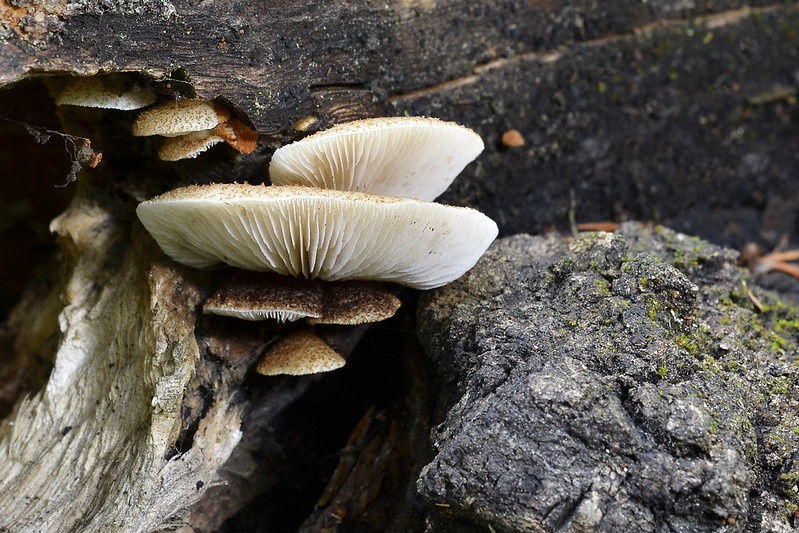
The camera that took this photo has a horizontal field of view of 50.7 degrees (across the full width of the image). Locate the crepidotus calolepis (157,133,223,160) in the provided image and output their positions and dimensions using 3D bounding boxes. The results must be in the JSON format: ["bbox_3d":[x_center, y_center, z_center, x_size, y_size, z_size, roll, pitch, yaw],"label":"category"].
[{"bbox_3d":[-1.563,-0.903,6.306,0.296,0.105,0.276,-23,27,-36],"label":"crepidotus calolepis"}]
